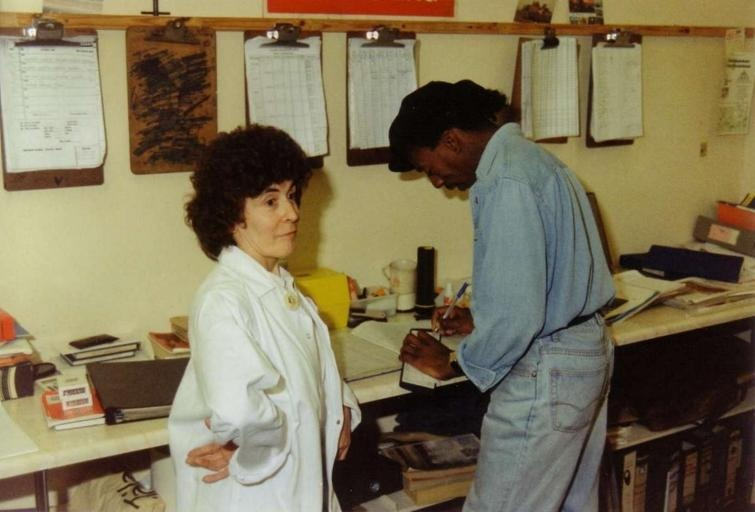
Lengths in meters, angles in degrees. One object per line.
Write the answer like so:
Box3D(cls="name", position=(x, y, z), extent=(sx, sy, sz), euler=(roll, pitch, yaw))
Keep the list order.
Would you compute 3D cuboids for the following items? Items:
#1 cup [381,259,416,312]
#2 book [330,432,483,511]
Box3D(cls="cup", position=(0.099, 0.115, 2.746), extent=(0.126, 0.189, 0.192), euler=(-3, 8, -14))
Box3D(cls="book", position=(0.073, 0.722, 2.789), extent=(0.754, 0.224, 0.421), euler=(2, 12, -13))
